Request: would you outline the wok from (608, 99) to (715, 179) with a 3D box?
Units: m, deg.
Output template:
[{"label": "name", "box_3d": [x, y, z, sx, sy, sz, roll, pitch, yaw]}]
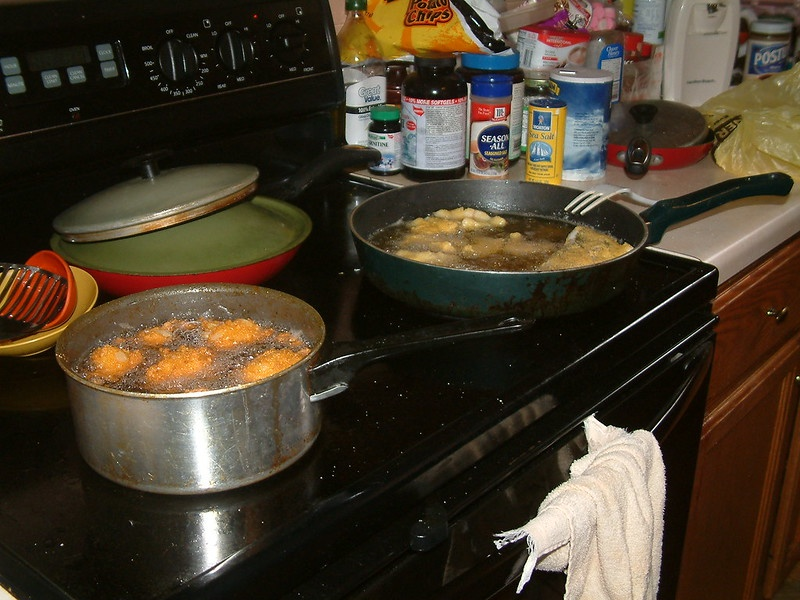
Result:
[{"label": "wok", "box_3d": [0.497, -0.317, 1.289, 0.153, 0.071, 0.202, 17, 43, 28]}]

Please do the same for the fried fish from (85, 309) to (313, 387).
[{"label": "fried fish", "box_3d": [-0.181, 0.036, 0.602, 0.139, 0.059, 0.162, 15, 24, 34]}]

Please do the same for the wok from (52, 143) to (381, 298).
[{"label": "wok", "box_3d": [-0.195, -0.112, 0.823, 0.408, 0.144, 0.190, -19, 30, -33]}]

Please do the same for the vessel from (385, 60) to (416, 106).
[{"label": "vessel", "box_3d": [-0.016, -0.425, 1.309, 0.090, 0.088, 0.094, -1, 23, -3]}]

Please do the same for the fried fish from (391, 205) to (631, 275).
[{"label": "fried fish", "box_3d": [0.139, -0.074, 0.844, 0.307, 0.028, 0.225, -3, 25, -3]}]
